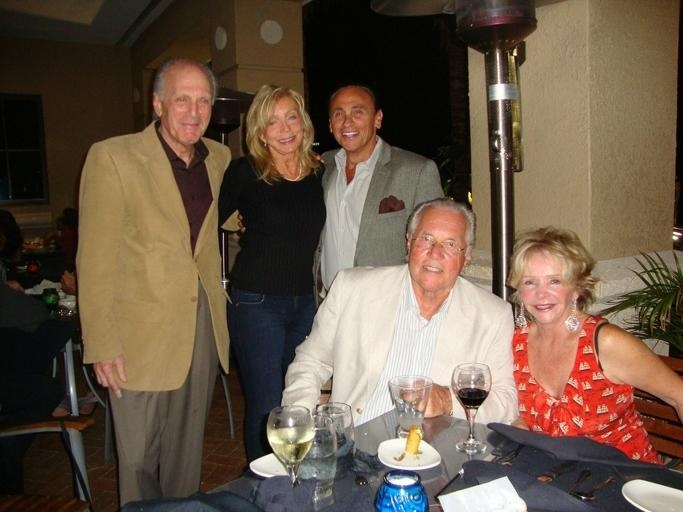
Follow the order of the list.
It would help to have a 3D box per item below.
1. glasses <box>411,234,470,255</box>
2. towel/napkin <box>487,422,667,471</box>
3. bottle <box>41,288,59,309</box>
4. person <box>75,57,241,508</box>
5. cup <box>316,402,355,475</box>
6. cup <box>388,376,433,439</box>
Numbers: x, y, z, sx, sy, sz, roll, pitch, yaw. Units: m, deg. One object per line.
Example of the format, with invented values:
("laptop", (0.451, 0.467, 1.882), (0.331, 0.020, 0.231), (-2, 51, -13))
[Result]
("glasses", (0.471, -0.053, 2.691), (0.233, 0.098, 0.072), (-2, 6, 10))
("towel/napkin", (0.810, 0.678, 2.045), (0.746, 0.173, 0.089), (2, 35, 6))
("bottle", (-2.261, 0.335, 4.378), (0.101, 0.135, 0.103), (-1, -17, 0))
("person", (-0.957, 0.146, 2.932), (0.718, 2.289, 0.350), (-4, 6, -18))
("cup", (-0.020, 0.610, 2.009), (0.172, 0.288, 0.189), (-3, 7, -2))
("cup", (0.259, 0.558, 2.139), (0.187, 0.247, 0.197), (0, -2, 0))
